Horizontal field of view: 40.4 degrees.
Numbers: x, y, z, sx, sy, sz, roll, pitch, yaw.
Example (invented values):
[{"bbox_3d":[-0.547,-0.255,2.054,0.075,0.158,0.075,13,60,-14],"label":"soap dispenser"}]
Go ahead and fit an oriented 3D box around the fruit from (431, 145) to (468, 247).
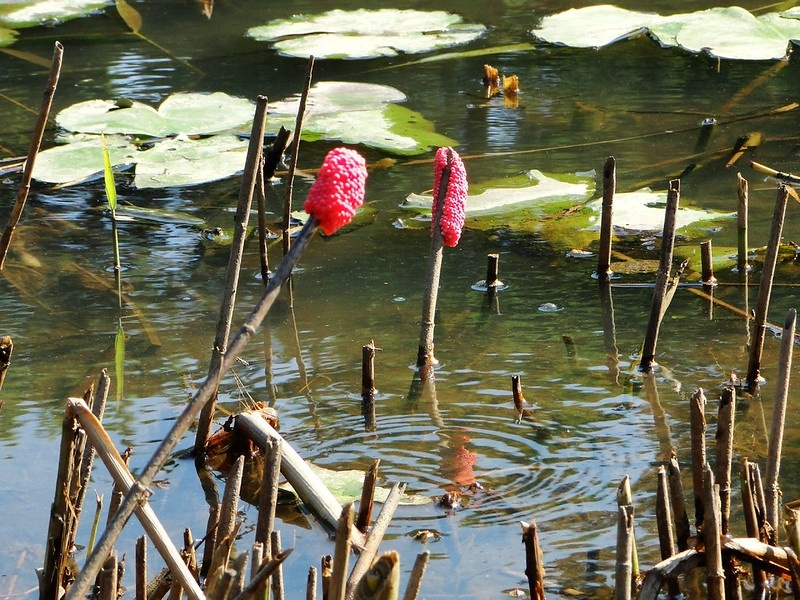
[{"bbox_3d":[0.260,-0.545,5.794,0.179,0.538,0.227,-2,22,2],"label":"fruit"}]
